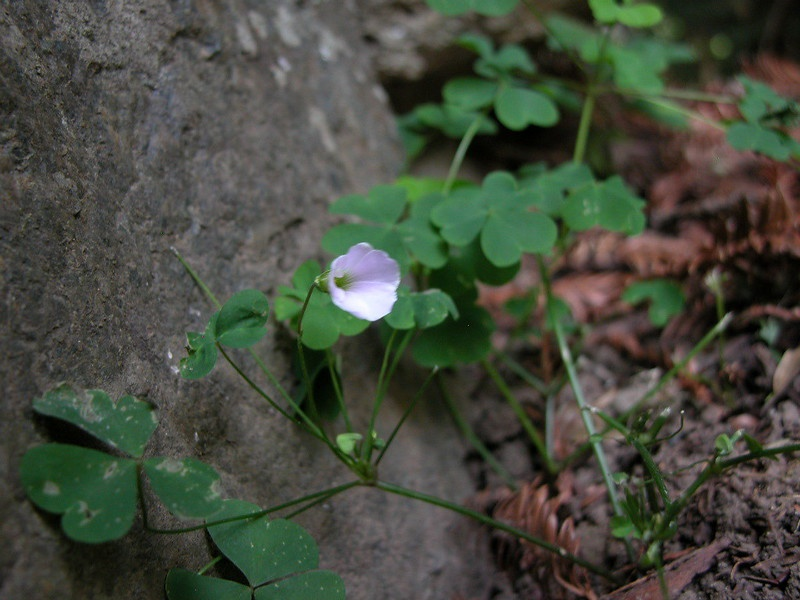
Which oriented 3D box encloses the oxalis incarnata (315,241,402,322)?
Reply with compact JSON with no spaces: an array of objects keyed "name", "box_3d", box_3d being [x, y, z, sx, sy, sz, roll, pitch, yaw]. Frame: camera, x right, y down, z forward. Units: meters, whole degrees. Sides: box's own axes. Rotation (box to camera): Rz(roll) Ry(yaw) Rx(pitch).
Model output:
[{"name":"oxalis incarnata","box_3d":[-0.112,-0.084,2.320,0.179,0.133,0.214,-2,2,-8]}]
